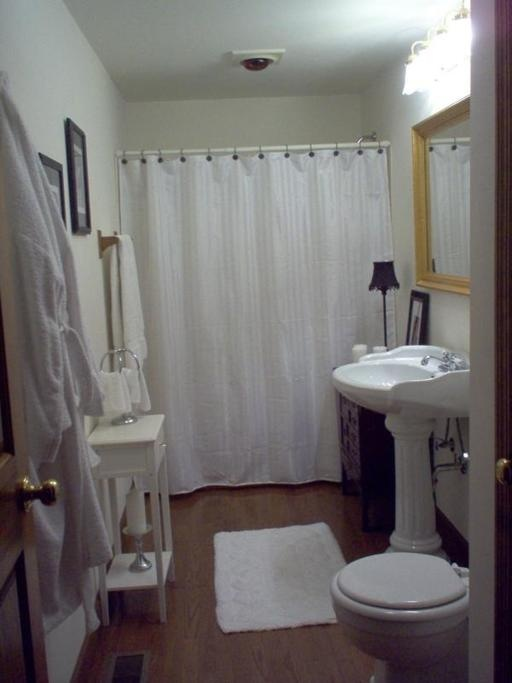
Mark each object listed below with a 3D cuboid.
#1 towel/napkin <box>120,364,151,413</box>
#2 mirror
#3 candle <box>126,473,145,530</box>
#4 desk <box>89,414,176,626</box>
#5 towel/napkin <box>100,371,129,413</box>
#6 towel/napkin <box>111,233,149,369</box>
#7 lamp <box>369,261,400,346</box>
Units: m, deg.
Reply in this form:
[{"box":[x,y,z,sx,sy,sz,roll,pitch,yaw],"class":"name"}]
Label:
[{"box":[-0.503,0.191,2.367,0.066,0.191,0.224,-3,-9,15],"class":"towel/napkin"},{"box":[0.791,-0.602,2.495,0.123,0.765,0.568,-1,6,5],"class":"mirror"},{"box":[-0.451,0.616,2.142,0.057,0.214,0.071,1,18,3],"class":"candle"},{"box":[-0.508,0.622,2.331,0.233,0.849,0.458,-3,25,-9],"class":"desk"},{"box":[-0.520,0.187,2.095,0.098,0.142,0.050,-6,6,6],"class":"towel/napkin"},{"box":[-0.616,-0.203,2.726,0.158,0.598,0.217,-3,6,-16],"class":"towel/napkin"},{"box":[0.678,-0.188,3.008,0.142,0.465,0.378,0,6,13],"class":"lamp"}]
